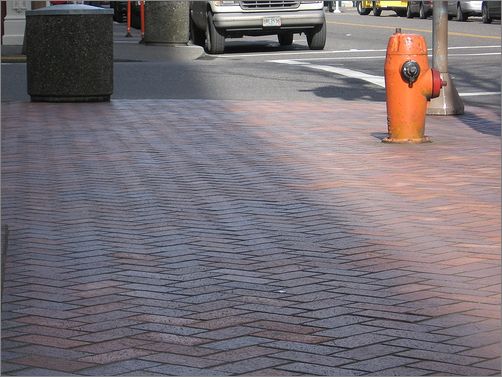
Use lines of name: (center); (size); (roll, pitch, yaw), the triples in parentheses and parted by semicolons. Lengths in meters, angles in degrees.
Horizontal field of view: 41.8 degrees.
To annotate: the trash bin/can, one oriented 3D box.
trash bin/can: (-3.222, -2.349, 11.573); (1.543, 1.688, 0.400); (-1, 23, -8)
